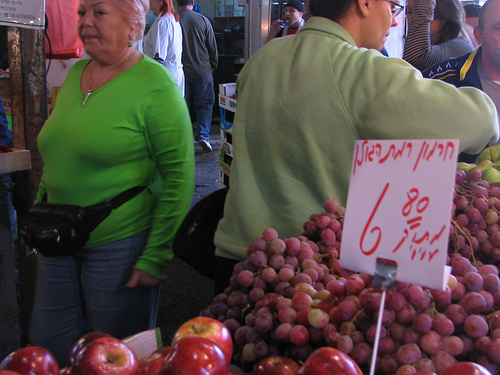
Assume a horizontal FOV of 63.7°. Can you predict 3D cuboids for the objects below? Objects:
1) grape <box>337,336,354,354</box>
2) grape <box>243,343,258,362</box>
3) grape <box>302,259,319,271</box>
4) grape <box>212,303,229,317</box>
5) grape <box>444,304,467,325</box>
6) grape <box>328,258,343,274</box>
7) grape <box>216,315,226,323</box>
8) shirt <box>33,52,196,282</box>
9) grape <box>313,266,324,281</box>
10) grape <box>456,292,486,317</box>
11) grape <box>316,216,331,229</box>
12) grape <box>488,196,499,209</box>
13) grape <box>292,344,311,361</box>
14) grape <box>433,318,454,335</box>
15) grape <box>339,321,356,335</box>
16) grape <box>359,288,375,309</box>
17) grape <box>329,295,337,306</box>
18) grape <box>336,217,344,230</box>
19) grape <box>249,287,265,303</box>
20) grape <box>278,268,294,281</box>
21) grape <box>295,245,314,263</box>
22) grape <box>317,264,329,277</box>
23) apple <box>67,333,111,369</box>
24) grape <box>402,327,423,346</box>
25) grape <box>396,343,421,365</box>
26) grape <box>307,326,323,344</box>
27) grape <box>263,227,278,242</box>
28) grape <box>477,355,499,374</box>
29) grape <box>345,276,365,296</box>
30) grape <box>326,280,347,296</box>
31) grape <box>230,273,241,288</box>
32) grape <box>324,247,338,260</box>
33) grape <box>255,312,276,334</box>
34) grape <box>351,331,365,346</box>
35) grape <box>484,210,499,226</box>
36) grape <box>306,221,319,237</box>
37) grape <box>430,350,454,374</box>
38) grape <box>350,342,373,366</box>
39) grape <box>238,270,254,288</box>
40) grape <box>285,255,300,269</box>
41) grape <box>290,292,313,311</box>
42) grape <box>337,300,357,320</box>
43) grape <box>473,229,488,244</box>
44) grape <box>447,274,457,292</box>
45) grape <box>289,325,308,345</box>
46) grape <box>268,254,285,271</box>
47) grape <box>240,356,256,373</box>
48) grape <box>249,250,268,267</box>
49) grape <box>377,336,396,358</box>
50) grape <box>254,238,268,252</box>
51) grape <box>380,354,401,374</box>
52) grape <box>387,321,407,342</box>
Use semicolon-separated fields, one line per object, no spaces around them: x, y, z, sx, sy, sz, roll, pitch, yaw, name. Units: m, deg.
0.233;0.383;0.986;0.034;0.041;0.036;1;-6;29;grape
-0.001;0.446;1.081;0.042;0.057;0.044;0;3;3;grape
0.178;0.233;1.200;0.046;0.027;0.035;5;21;3;grape
-0.094;0.371;1.206;0.040;0.034;0.032;3;-21;-4;grape
0.510;0.315;0.990;0.043;0.056;0.043;-11;3;-36;grape
0.259;0.238;1.235;0.036;0.037;0.071;2;21;-2;grape
-0.085;0.393;1.195;0.014;0.018;0.014;-1;-2;41;grape
-0.825;-0.160;2.328;1.174;1.232;0.687;6;3;32;shirt
0.205;0.256;1.199;0.025;0.040;0.035;18;25;36;grape
0.561;0.288;1.012;0.064;0.056;0.050;-14;-5;41;grape
0.235;0.114;1.314;0.040;0.033;0.029;-17;2;-33;grape
0.760;0.041;1.261;0.031;0.041;0.033;7;29;31;grape
0.133;0.427;1.035;0.036;0.049;0.040;0;5;0;grape
0.465;0.338;0.969;0.032;0.035;0.042;-16;4;-32;grape
0.242;0.351;1.007;0.030;0.039;0.031;-3;-35;11;grape
0.283;0.272;0.997;0.036;0.051;0.043;6;2;3;grape
0.227;0.310;1.092;0.015;0.011;0.019;-20;54;-6;grape
0.302;0.119;1.335;0.030;0.042;0.033;-3;3;-7;grape
0.012;0.317;1.210;0.037;0.048;0.039;2;-30;-48;grape
0.104;0.254;1.168;0.033;0.036;0.042;-27;0;-6;grape
0.166;0.200;1.225;0.045;0.059;0.043;1;3;1;grape
0.222;0.255;1.231;0.029;0.018;0.023;14;5;-9;grape
-0.440;0.424;1.090;0.090;0.098;0.095;-3;-8;3;apple
0.394;0.363;0.977;0.039;0.050;0.039;3;-9;19;grape
0.377;0.400;0.956;0.044;0.050;0.026;-24;-40;17;grape
0.166;0.383;1.041;0.039;0.042;0.040;0;5;-1;grape
0.063;0.146;1.283;0.035;0.041;0.044;-14;-32;8;grape
0.562;0.420;0.951;0.032;0.026;0.044;5;20;-13;grape
0.273;0.252;1.066;0.042;0.049;0.045;-7;7;-31;grape
0.234;0.273;1.086;0.030;0.024;0.040;4;-3;-24;grape
-0.047;0.291;1.275;0.036;0.049;0.039;1;7;10;grape
0.255;0.202;1.267;0.036;0.046;0.037;-4;6;-23;grape
0.041;0.362;1.122;0.045;0.061;0.053;20;46;15;grape
0.268;0.375;0.999;0.027;0.029;0.028;-12;-2;30;grape
0.739;0.091;1.235;0.040;0.053;0.043;7;5;33;grape
0.204;0.137;1.326;0.031;0.036;0.045;-3;25;13;grape
0.454;0.414;0.962;0.033;0.038;0.047;0;23;-6;grape
0.272;0.405;0.987;0.042;0.056;0.030;38;1;20;grape
-0.012;0.273;1.209;0.041;0.045;0.052;11;-33;-14;grape
0.127;0.223;1.213;0.033;0.044;0.034;1;10;-2;grape
0.136;0.304;1.072;0.044;0.046;0.056;27;52;29;grape
0.245;0.311;1.015;0.049;0.048;0.032;8;20;12;grape
0.708;0.149;1.229;0.037;0.037;0.021;47;8;21;grape
0.517;0.245;1.030;0.030;0.043;0.022;4;-14;-39;grape
0.123;0.376;1.024;0.040;0.044;0.042;-6;9;-3;grape
0.079;0.221;1.197;0.039;0.046;0.024;-6;-1;-3;grape
-0.008;0.490;1.125;0.033;0.047;0.024;17;1;-33;grape
0.025;0.212;1.200;0.040;0.048;0.051;-2;-28;24;grape
0.336;0.393;0.991;0.044;0.056;0.043;0;-5;39;grape
0.032;0.175;1.230;0.036;0.031;0.029;2;0;-4;grape
0.340;0.430;0.975;0.040;0.047;0.039;2;4;30;grape
0.367;0.350;1.006;0.043;0.057;0.045;4;6;23;grape
